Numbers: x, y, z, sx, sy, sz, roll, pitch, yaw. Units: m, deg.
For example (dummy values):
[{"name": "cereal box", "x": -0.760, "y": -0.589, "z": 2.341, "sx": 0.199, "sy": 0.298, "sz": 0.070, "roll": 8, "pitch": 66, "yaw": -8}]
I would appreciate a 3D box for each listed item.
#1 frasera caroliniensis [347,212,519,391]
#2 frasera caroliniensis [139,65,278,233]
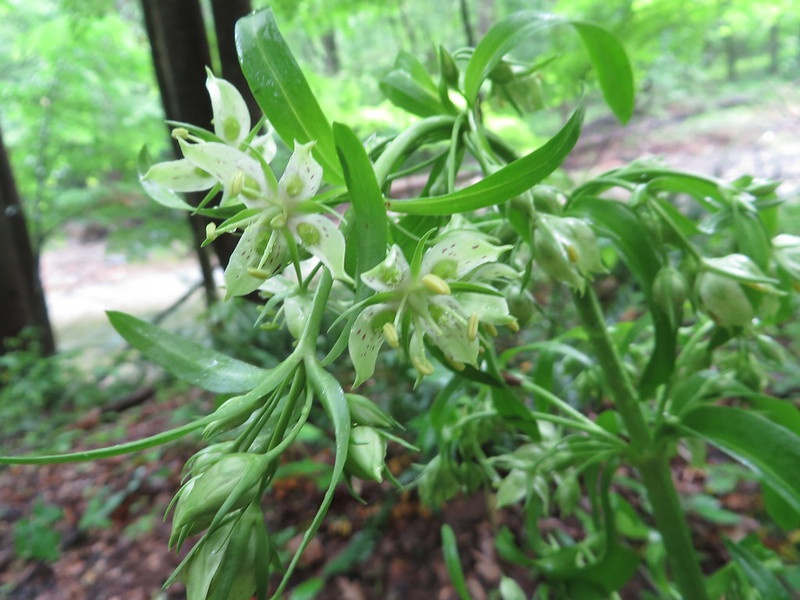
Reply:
[{"name": "frasera caroliniensis", "x": 0.054, "y": 0.004, "z": 1.218, "sx": 0.344, "sy": 0.280, "sz": 0.158, "roll": -14, "pitch": 27, "yaw": -8}, {"name": "frasera caroliniensis", "x": -0.365, "y": -0.282, "z": 1.370, "sx": 0.282, "sy": 0.359, "sz": 0.132, "roll": 14, "pitch": -2, "yaw": 32}]
